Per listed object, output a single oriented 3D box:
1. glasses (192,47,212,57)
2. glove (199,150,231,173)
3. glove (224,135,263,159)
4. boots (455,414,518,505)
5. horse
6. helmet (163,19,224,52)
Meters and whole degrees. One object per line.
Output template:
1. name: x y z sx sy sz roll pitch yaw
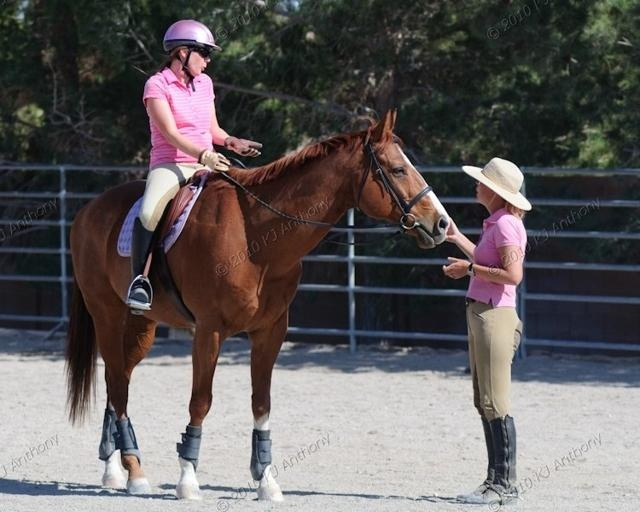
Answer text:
1. glasses: -1.102 -1.948 14.983 0.109 0.104 0.038 11 20 -7
2. glove: -0.964 -0.864 14.653 0.228 0.091 0.186 14 29 -20
3. glove: -0.746 -0.996 15.022 0.349 0.098 0.208 21 22 17
4. boots: 1.591 1.881 14.623 0.502 0.793 0.253 2 1 7
5. horse: -0.840 0.604 15.089 4.822 3.519 1.217 -5 -9 42
6. helmet: -1.214 -2.104 15.018 0.437 0.209 0.295 1 12 2
